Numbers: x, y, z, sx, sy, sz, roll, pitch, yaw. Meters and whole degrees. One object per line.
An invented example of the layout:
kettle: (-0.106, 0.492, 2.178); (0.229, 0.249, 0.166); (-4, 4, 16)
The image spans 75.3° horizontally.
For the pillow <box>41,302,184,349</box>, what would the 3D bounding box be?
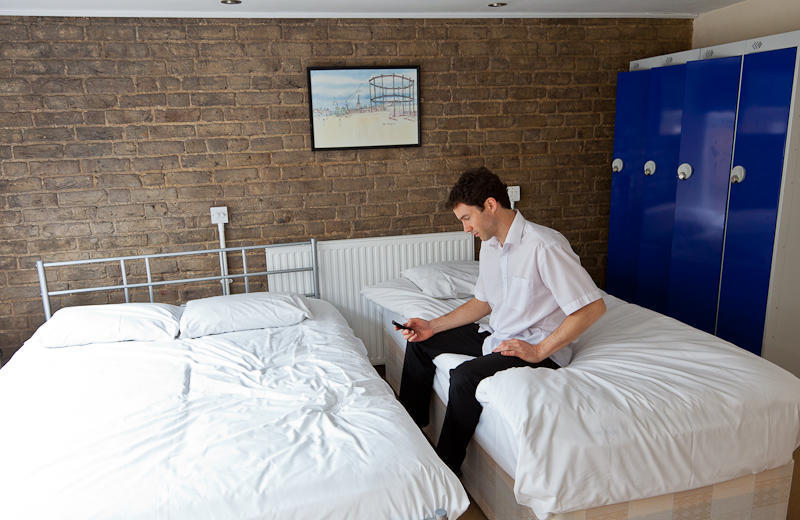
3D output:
pillow: (-1.963, 0.444, 3.509); (0.599, 0.121, 0.413); (-1, 14, -14)

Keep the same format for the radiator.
radiator: (-0.284, 0.276, 3.835); (1.285, 0.691, 0.047); (-4, 5, -6)

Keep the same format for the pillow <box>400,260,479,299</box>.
pillow: (0.359, 0.142, 3.883); (0.371, 0.094, 0.348); (-5, 13, -17)
